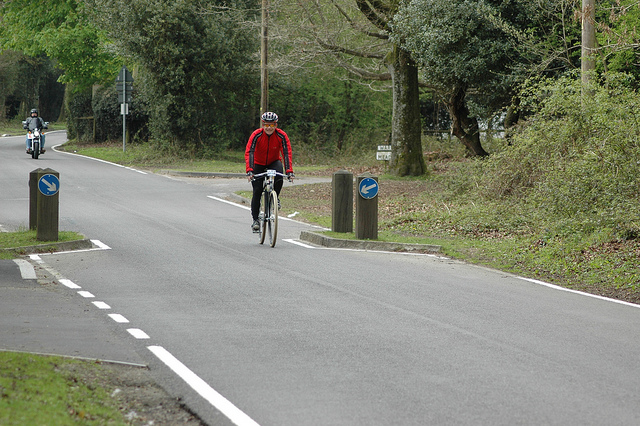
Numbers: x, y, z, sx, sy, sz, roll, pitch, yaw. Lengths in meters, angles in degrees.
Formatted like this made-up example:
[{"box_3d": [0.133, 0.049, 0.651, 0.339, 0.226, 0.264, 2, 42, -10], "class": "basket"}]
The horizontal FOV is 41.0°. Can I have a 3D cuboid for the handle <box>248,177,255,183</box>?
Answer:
[{"box_3d": [-1.502, -0.712, 18.946, 0.164, 0.041, 0.046, -36, 25, -16], "class": "handle"}]

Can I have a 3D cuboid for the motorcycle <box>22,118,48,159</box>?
[{"box_3d": [-11.744, -3.066, 35.230, 0.780, 1.074, 1.654, 0, 4, -14], "class": "motorcycle"}]

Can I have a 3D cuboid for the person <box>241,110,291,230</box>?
[{"box_3d": [-1.135, -0.910, 18.922, 1.005, 2.662, 1.014, -1, 13, -12], "class": "person"}]

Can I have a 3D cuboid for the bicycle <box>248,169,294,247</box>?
[{"box_3d": [-1.108, -0.081, 18.898, 0.849, 1.709, 1.136, -2, 13, -14], "class": "bicycle"}]
